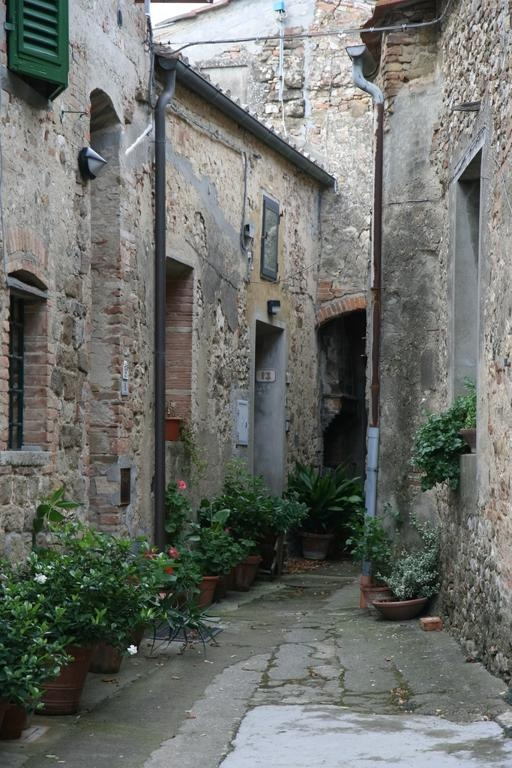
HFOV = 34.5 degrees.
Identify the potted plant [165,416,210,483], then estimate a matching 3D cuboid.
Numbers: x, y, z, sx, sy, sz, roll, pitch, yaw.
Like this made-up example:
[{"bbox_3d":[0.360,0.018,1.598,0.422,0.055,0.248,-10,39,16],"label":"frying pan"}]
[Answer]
[{"bbox_3d":[-0.640,0.573,7.303,0.159,0.513,0.459,-2,4,13],"label":"potted plant"}]
